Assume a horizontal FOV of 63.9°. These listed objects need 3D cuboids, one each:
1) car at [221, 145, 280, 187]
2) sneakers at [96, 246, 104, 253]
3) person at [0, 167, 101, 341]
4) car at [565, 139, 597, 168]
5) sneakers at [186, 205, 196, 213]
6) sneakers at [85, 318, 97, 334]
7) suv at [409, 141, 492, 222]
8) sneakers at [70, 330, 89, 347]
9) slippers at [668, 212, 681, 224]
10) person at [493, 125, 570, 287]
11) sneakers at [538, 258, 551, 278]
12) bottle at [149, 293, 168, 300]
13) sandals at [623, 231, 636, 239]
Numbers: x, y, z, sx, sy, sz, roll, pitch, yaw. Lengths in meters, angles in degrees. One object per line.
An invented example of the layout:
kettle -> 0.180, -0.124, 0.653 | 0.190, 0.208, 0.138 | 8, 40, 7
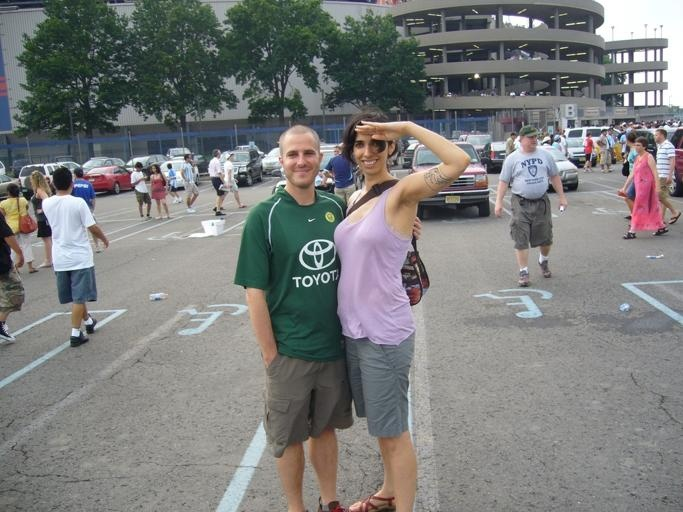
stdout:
car -> -5.287, -5.297, 32.047 | 2.134, 1.991, 4.498 | 1, 13, 5
sneakers -> -5.717, -0.167, 12.991 | 0.145, 0.181, 0.426 | -1, -3, -9
person -> -3.497, -0.040, 7.303 | 0.660, 2.268, 1.110 | -10, 13, -27
car -> 12.655, -5.468, 28.640 | 1.347, 1.237, 2.584 | -1, 4, 15
sneakers -> -5.743, -1.771, 20.850 | 0.436, 0.281, 0.177 | 0, 19, 13
sneakers -> -3.414, 0.946, 7.508 | 0.100, 0.119, 0.275 | -2, 14, -7
suv -> 3.207, -2.301, 17.229 | 2.077, 2.055, 4.068 | -1, 7, 1
sneakers -> -3.359, 1.049, 7.072 | 0.115, 0.122, 0.287 | 0, 8, 2
slippers -> 7.961, -0.911, 13.065 | 0.100, 0.351, 0.131 | 13, 35, -10
person -> 2.853, -0.780, 8.396 | 0.980, 2.374, 0.663 | -3, 12, 5
sneakers -> 3.299, 0.136, 8.864 | 0.132, 0.176, 0.396 | -10, 49, 11
bottle -> -2.991, 0.657, 8.924 | 0.216, 0.070, 0.138 | -1, 4, 17
sandals -> 6.168, -0.441, 11.659 | 0.290, 0.115, 0.123 | 1, 4, -1
